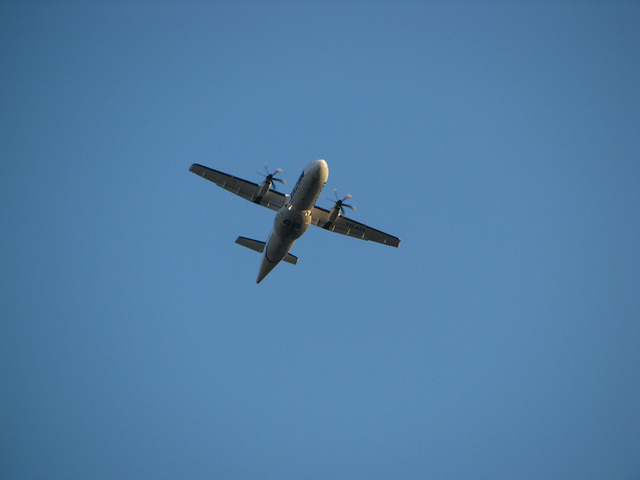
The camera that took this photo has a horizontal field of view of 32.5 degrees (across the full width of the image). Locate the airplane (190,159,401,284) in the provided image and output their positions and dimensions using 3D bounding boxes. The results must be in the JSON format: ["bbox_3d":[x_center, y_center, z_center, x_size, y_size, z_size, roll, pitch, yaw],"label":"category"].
[{"bbox_3d":[-1.322,-1.351,51.439,6.523,2.882,6.991,16,-41,-9],"label":"airplane"}]
